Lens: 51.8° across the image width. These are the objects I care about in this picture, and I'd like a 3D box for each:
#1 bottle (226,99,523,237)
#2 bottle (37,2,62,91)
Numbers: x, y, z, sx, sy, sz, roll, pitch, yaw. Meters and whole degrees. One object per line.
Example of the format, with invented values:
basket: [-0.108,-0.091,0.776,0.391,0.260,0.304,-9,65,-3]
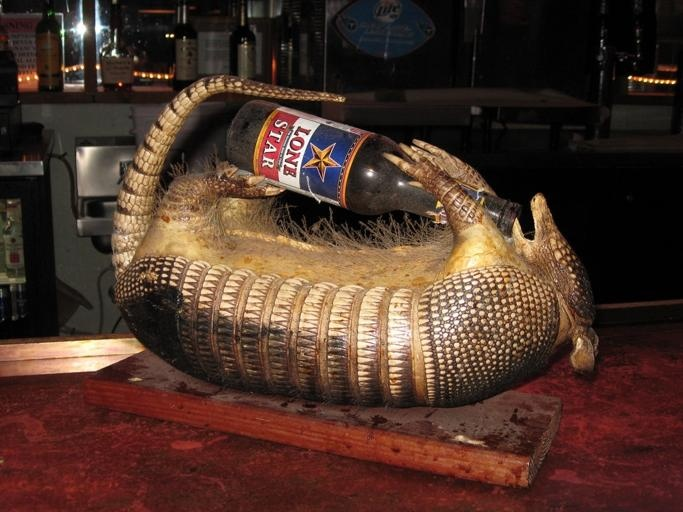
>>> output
bottle: [0.031,-0.105,0.818,0.349,0.148,0.145,3,12,12]
bottle: [-0.860,-0.618,2.063,0.077,0.272,0.205,-4,13,-21]
